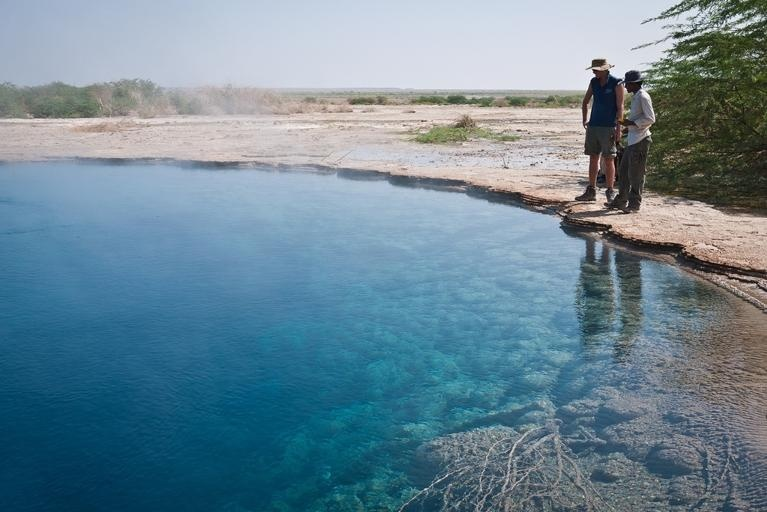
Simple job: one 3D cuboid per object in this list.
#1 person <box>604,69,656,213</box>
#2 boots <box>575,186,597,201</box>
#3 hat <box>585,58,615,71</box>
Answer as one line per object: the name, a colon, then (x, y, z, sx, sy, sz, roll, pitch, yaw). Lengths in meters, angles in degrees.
person: (4.397, -1.957, 9.952, 0.660, 2.492, 0.634, 0, 24, 18)
boots: (3.889, -1.185, 11.056, 0.594, 0.260, 0.209, 4, 22, 16)
hat: (3.849, -3.361, 9.973, 0.280, 0.185, 0.220, -1, 18, 9)
